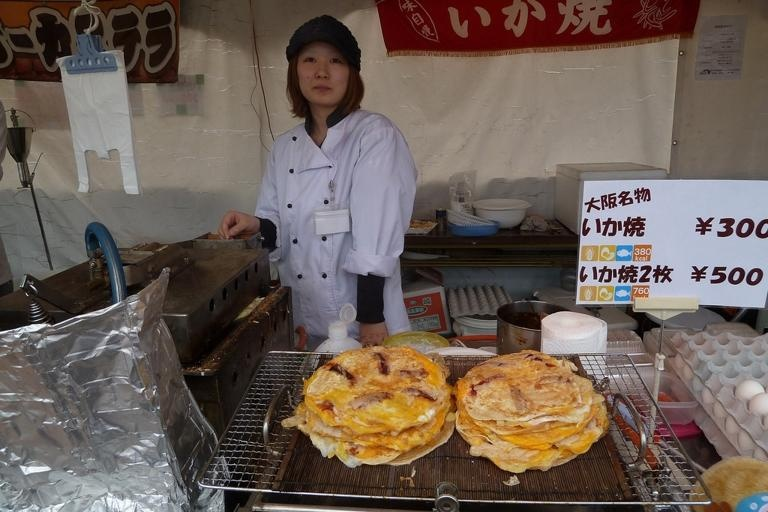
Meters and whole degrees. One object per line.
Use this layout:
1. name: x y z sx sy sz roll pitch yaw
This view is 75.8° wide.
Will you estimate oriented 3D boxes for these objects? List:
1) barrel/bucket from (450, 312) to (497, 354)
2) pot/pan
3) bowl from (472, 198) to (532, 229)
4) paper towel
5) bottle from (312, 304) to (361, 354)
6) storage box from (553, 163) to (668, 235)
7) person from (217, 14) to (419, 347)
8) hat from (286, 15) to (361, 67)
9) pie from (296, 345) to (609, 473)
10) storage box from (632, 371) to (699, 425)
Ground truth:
1. barrel/bucket: 0.637 0.511 3.407 0.412 0.145 0.434 0 8 0
2. pot/pan: 0.631 0.286 2.123 0.244 0.195 0.266 -13 16 -42
3. bowl: 1.073 -0.431 4.621 0.350 0.146 0.350 -2 13 0
4. paper towel: 0.727 0.338 1.935 0.205 0.202 0.209 -2 14 4
5. bottle: -0.195 0.330 2.253 0.227 0.238 0.218 -1 12 -1
6. storage box: 1.797 -0.647 4.446 1.056 0.673 1.065 1 19 9
7. person: -0.341 -0.420 3.154 1.121 2.049 0.527 13 21 38
8. hat: -0.367 -1.272 2.937 0.433 0.293 0.257 -2 16 -6
9. pie: 0.234 0.509 1.623 0.653 0.114 0.467 -3 19 -3
10. storage box: 1.189 0.582 2.090 0.215 0.089 0.275 -1 23 2
